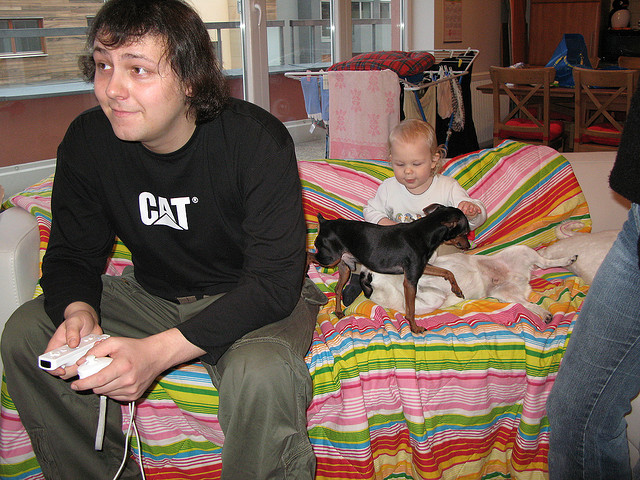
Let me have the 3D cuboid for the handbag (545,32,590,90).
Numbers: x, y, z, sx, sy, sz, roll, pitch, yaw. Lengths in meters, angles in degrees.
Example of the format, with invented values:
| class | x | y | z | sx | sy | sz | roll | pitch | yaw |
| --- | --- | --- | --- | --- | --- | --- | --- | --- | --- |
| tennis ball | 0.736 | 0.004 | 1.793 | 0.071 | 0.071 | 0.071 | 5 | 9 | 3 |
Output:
| class | x | y | z | sx | sy | sz | roll | pitch | yaw |
| --- | --- | --- | --- | --- | --- | --- | --- | --- | --- |
| handbag | 2.375 | -1.739 | 4.653 | 0.293 | 0.428 | 0.421 | -37 | 36 | -30 |

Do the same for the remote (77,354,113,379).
| class | x | y | z | sx | sy | sz | roll | pitch | yaw |
| --- | --- | --- | --- | --- | --- | --- | --- | --- | --- |
| remote | -0.528 | 0.294 | 1.122 | 0.042 | 0.047 | 0.078 | 13 | 21 | 41 |

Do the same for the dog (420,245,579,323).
| class | x | y | z | sx | sy | sz | roll | pitch | yaw |
| --- | --- | --- | --- | --- | --- | --- | --- | --- | --- |
| dog | 0.698 | 0.169 | 1.911 | 0.450 | 0.163 | 0.315 | -5 | 46 | 24 |

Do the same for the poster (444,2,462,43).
| class | x | y | z | sx | sy | sz | roll | pitch | yaw |
| --- | --- | --- | --- | --- | --- | --- | --- | --- | --- |
| poster | 1.696 | -2.782 | 6.155 | 0.383 | 0.467 | 0.021 | -19 | 21 | -38 |

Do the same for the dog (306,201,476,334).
| class | x | y | z | sx | sy | sz | roll | pitch | yaw |
| --- | --- | --- | --- | --- | --- | --- | --- | --- | --- |
| dog | 0.240 | 0.089 | 1.792 | 0.608 | 0.475 | 0.224 | 3 | 15 | 11 |
